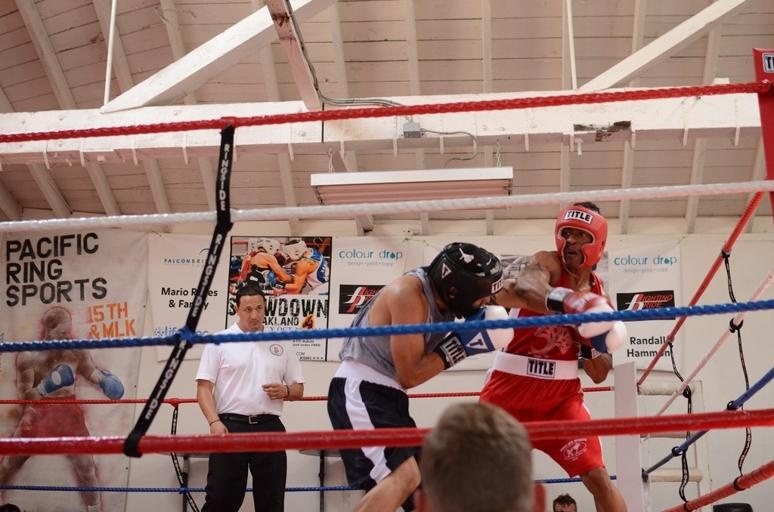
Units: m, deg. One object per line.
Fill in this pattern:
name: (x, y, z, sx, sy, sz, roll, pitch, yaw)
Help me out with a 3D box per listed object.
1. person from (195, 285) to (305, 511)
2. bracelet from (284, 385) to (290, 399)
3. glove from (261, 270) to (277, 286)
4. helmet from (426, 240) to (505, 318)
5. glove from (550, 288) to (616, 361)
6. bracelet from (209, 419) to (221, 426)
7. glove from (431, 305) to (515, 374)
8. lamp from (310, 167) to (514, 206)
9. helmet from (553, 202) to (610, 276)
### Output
person: (-1.071, 1.125, 6.537, 0.740, 1.755, 0.802, -2, -12, 41)
bracelet: (-0.815, 1.109, 6.600, 0.033, 0.083, 0.074, -3, 17, -21)
glove: (-1.323, 0.244, 9.123, 0.159, 0.167, 0.133, 9, 8, 41)
helmet: (0.530, 0.119, 5.439, 0.509, 0.428, 0.401, -21, 2, 24)
glove: (1.162, 0.389, 5.033, 0.385, 0.159, 0.402, 23, -22, 46)
bracelet: (-1.350, 1.291, 6.295, 0.090, 0.044, 0.052, 2, -10, 17)
glove: (0.548, 0.529, 5.180, 0.473, 0.210, 0.362, -25, -9, 21)
lamp: (0.206, -0.607, 7.020, 1.692, 0.335, 0.371, 4, -9, 6)
helmet: (1.402, -0.121, 5.741, 0.357, 0.451, 0.447, 4, -26, 13)
